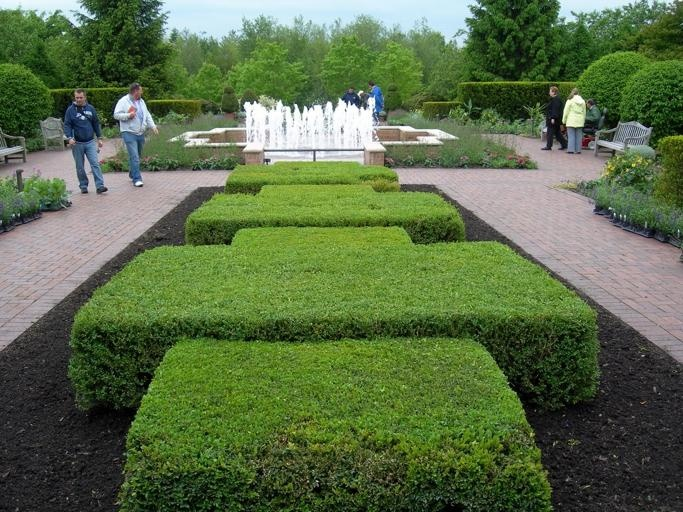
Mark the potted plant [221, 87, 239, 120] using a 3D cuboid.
[{"bbox_3d":[-8.129,-11.338,40.808,1.245,1.935,2.625,-4,20,-11],"label":"potted plant"}]

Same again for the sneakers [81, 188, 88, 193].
[{"bbox_3d":[-5.784,-1.486,12.596,0.092,0.104,0.255,0,4,-20],"label":"sneakers"}]

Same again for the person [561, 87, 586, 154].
[{"bbox_3d":[7.489,-4.326,18.058,0.757,2.023,0.699,0,4,-22],"label":"person"}]

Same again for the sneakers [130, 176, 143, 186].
[{"bbox_3d":[-4.941,-1.807,13.552,0.233,0.176,0.577,-8,15,-26],"label":"sneakers"}]

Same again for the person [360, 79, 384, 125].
[{"bbox_3d":[1.312,-6.323,23.722,0.879,2.239,0.780,4,-5,-1],"label":"person"}]
